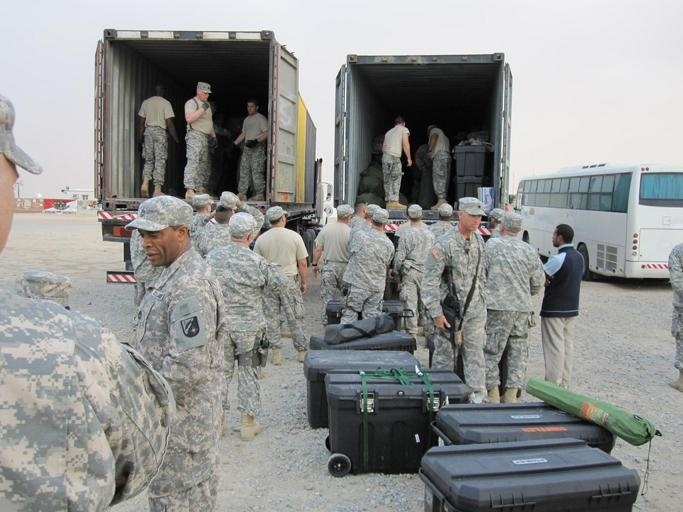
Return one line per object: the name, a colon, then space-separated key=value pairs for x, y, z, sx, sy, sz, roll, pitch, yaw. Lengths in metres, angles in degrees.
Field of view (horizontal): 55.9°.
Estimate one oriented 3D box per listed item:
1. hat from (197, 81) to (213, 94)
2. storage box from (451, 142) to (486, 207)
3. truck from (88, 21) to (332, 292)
hat: x=-1.960 y=-2.403 z=9.224 sx=0.136 sy=0.183 sz=0.358 roll=1 pitch=5 yaw=-6
storage box: x=1.958 y=-1.291 z=9.811 sx=0.640 sy=1.271 sz=0.640 roll=1 pitch=1 yaw=4
truck: x=-1.867 y=-1.422 z=9.984 sx=2.428 sy=3.769 sz=6.900 roll=0 pitch=6 yaw=0
